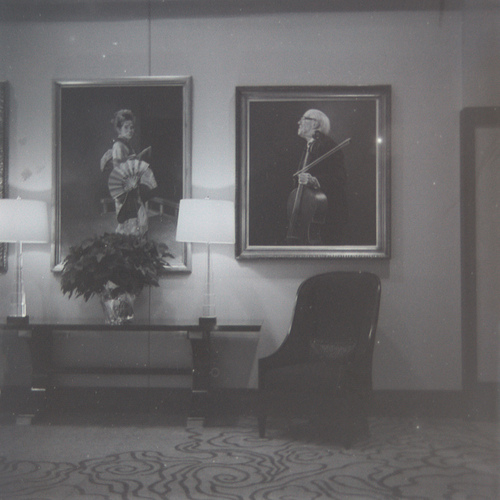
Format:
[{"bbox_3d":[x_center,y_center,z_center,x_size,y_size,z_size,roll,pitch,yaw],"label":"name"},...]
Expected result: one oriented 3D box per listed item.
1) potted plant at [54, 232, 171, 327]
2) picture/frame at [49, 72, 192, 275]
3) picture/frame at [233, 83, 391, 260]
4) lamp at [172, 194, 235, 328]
[{"bbox_3d":[-0.456,0.081,2.340,0.336,0.340,0.353,6,10,-25],"label":"potted plant"},{"bbox_3d":[-0.425,-0.226,2.216,0.543,0.922,0.037,-1,-7,2],"label":"picture/frame"},{"bbox_3d":[0.220,-0.239,2.205,0.462,0.628,0.037,1,-2,0],"label":"picture/frame"},{"bbox_3d":[-0.151,0.045,2.188,0.183,0.427,0.093,1,3,-26],"label":"lamp"}]
